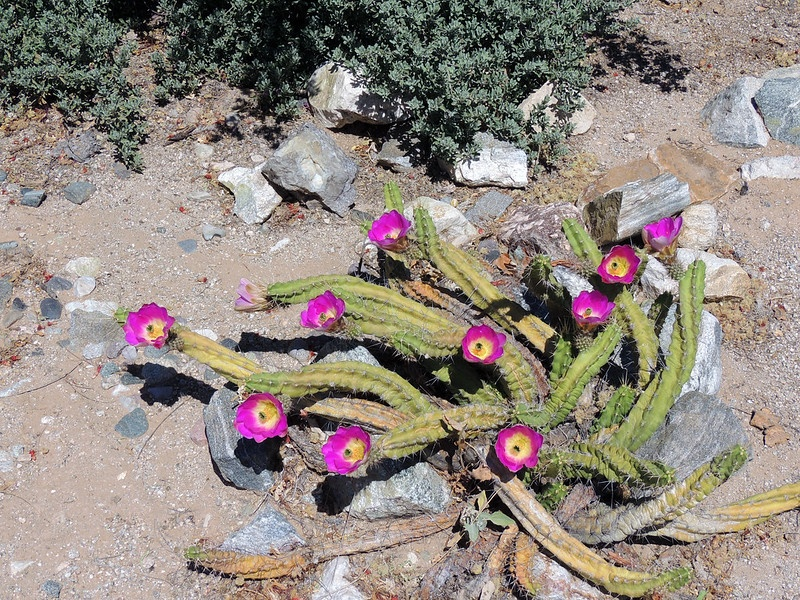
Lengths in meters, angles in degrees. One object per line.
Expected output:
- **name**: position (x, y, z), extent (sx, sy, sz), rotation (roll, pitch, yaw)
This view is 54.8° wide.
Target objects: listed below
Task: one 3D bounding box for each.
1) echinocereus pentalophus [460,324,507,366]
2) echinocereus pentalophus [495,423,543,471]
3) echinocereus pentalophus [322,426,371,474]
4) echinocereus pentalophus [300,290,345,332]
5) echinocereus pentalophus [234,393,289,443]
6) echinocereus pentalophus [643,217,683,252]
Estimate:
- **echinocereus pentalophus**: position (0.586, 0.327, 5.471), extent (0.291, 0.165, 0.253), rotation (16, 69, -1)
- **echinocereus pentalophus**: position (0.805, 1.016, 5.236), extent (0.139, 0.381, 0.308), rotation (-23, 34, -34)
- **echinocereus pentalophus**: position (-0.368, 1.057, 5.348), extent (0.332, 0.291, 0.274), rotation (-38, 78, -18)
- **echinocereus pentalophus**: position (-0.550, 0.120, 5.547), extent (0.359, 0.179, 0.338), rotation (4, 99, -17)
- **echinocereus pentalophus**: position (-0.978, 0.822, 5.394), extent (0.329, 0.207, 0.296), rotation (-11, 72, -11)
- **echinocereus pentalophus**: position (1.889, -0.515, 5.586), extent (0.225, 0.175, 0.288), rotation (-16, 38, 15)
